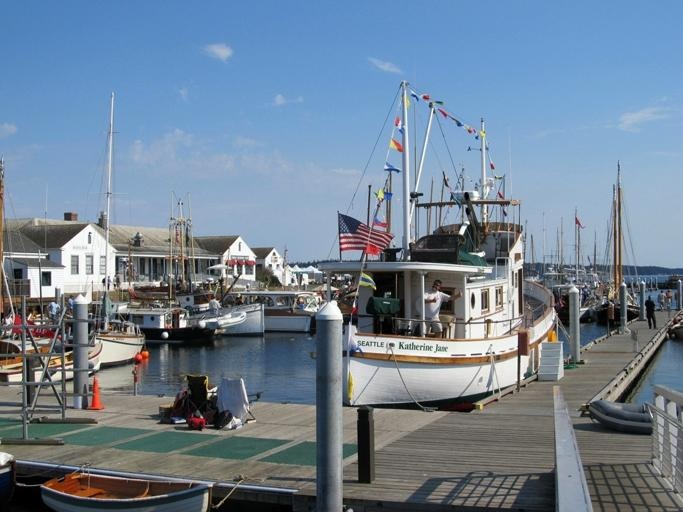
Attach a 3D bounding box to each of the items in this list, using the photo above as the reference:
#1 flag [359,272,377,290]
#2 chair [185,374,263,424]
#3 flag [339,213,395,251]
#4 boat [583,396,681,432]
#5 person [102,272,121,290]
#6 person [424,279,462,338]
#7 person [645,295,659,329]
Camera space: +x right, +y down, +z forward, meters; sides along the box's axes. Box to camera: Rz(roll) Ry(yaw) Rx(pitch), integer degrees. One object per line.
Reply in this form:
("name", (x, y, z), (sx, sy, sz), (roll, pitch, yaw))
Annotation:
("flag", (0.668, 0.613, 22.040), (0.418, 0.511, 0.067), (4, -10, -21))
("chair", (-2.638, 3.407, 20.774), (0.916, 0.863, 1.479), (0, -11, 15))
("flag", (0.481, -0.443, 19.553), (0.947, 0.821, 0.101), (2, -5, -18))
("boat", (6.151, 3.511, 19.385), (1.161, 0.620, 1.971), (-2, -3, 12))
("person", (-15.638, 1.736, 59.012), (0.669, 1.374, 1.266), (1, -1, 38))
("person", (2.596, 1.342, 22.685), (0.652, 1.421, 1.502), (-3, -3, 26))
("person", (15.506, 2.830, 43.571), (0.493, 1.470, 2.501), (-2, -3, 20))
